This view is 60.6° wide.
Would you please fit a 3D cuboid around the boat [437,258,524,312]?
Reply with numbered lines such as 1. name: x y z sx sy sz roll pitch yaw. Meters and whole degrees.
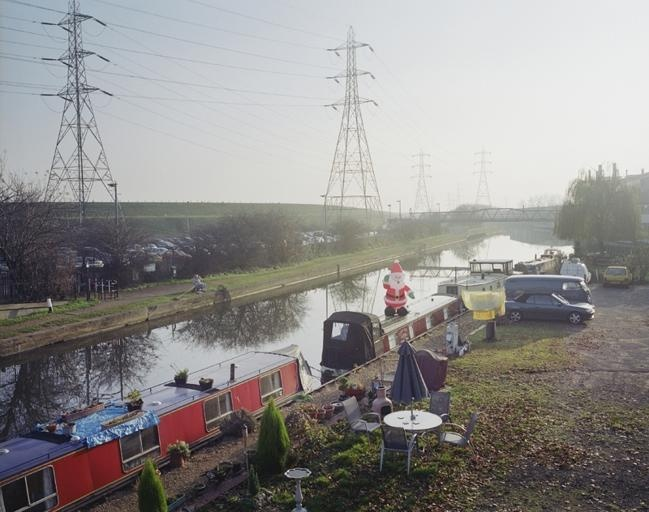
1. boat: 10.814 1.773 38.774 6.235 2.574 1.955 -11 10 -39

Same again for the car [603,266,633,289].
1. car: 21.071 1.392 40.051 1.279 1.285 2.314 1 13 26

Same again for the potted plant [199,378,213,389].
1. potted plant: -3.865 4.115 18.091 0.286 0.214 0.308 -1 1 -8

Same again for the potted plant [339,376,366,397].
1. potted plant: 1.043 4.533 19.478 0.693 0.640 0.577 -7 -7 40

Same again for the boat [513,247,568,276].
1. boat: 21.713 0.476 55.775 1.507 2.147 9.746 6 11 31

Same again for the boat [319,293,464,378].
1. boat: 3.621 3.005 28.524 2.760 3.483 12.431 1 13 32

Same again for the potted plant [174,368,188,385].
1. potted plant: -4.790 4.021 18.582 0.535 0.607 0.533 2 -6 -13

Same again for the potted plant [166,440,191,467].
1. potted plant: -4.252 5.711 16.370 0.528 0.738 0.651 0 6 14

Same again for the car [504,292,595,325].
1. car: 11.519 2.663 28.197 3.728 1.334 1.824 -2 4 15
